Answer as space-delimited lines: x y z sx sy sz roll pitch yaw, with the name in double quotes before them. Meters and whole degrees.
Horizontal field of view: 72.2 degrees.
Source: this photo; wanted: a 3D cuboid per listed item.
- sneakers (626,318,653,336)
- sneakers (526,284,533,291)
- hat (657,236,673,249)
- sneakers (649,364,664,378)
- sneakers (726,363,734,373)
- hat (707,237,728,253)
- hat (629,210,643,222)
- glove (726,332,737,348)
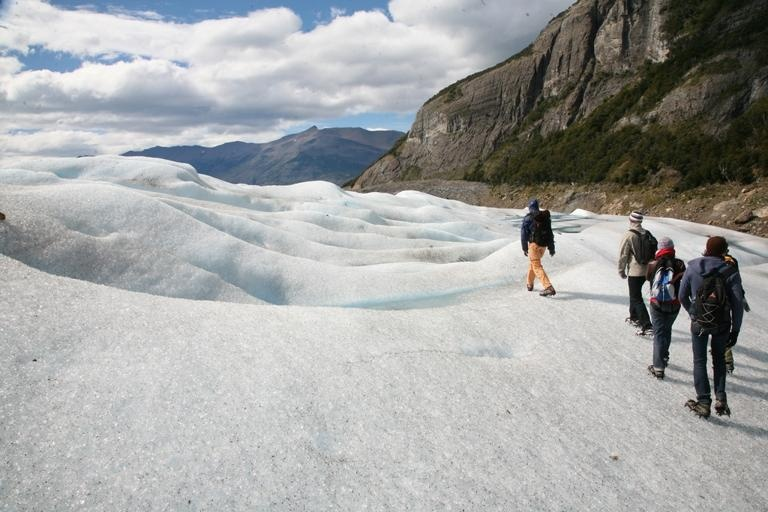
"sneakers" 7.201 2.023 14.817 0.204 0.241 0.578 4 10 -7
"sneakers" 4.925 1.038 17.599 0.194 0.229 0.247 0 -9 1
"hat" 7.165 -0.342 13.311 0.296 0.310 0.384 3 -12 -3
"sneakers" 6.894 2.923 13.319 0.176 0.193 0.408 7 3 3
"sneakers" 8.929 2.867 13.561 0.196 0.238 0.112 2 4 1
"hat" 7.615 -0.270 12.029 0.414 0.464 0.286 11 22 27
"hat" 6.968 -1.116 14.519 0.294 0.344 0.575 9 20 22
"glove" 8.000 1.877 12.083 0.149 0.409 0.360 19 27 41
